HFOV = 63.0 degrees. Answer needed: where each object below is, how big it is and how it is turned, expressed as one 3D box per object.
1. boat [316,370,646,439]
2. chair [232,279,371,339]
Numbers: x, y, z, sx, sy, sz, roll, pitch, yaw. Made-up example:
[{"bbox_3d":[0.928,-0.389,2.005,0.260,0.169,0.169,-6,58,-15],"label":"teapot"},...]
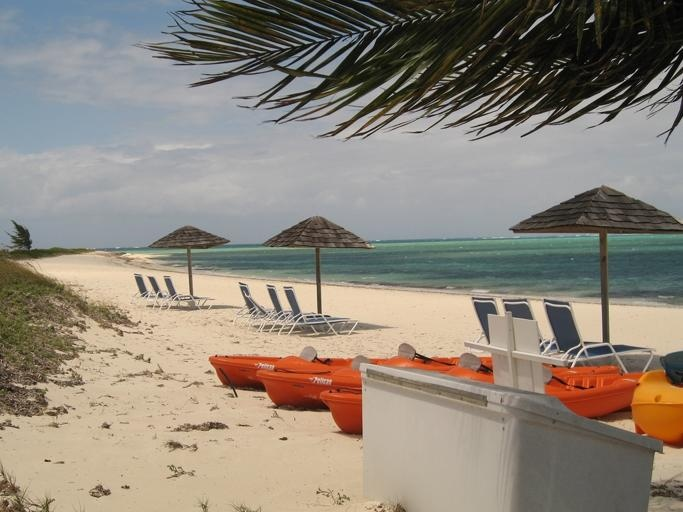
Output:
[{"bbox_3d":[1.937,1.433,5.873,2.315,0.224,0.519,-5,14,-2],"label":"boat"},{"bbox_3d":[-0.901,0.864,12.048,1.701,0.578,2.518,-1,0,-28],"label":"chair"}]
